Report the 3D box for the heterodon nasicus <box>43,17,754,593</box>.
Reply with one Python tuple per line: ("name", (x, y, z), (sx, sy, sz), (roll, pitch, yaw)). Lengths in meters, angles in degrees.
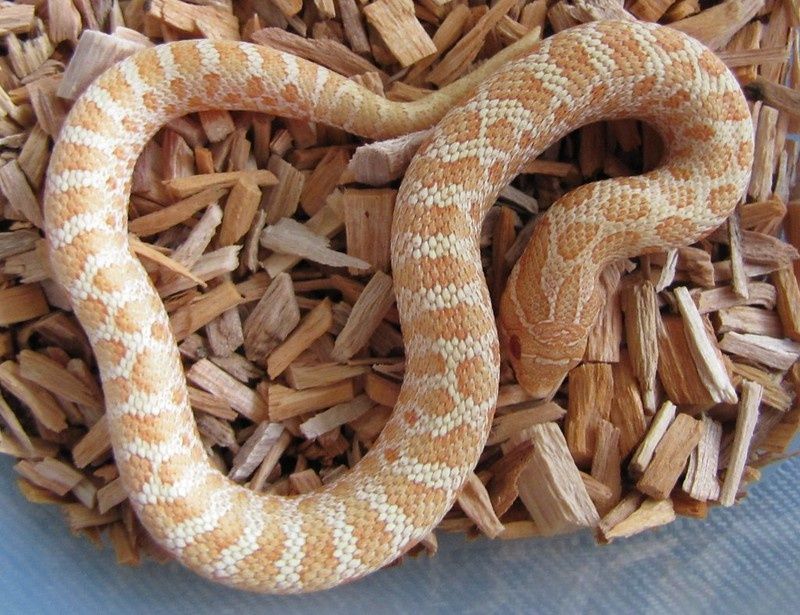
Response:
("heterodon nasicus", (-0.069, -0.033, 1.742), (1.309, 1.099, 0.671), (13, 28, 7))
